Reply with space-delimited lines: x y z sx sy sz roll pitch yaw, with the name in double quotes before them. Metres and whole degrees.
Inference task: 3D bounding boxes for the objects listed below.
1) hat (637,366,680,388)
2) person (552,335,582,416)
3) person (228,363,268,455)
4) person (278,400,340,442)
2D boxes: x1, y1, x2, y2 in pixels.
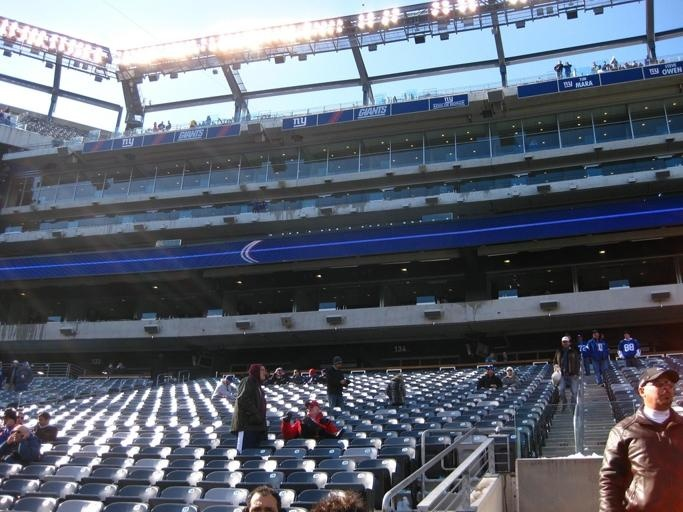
"hat" 2.543 0.964 4.866 0.189 0.130 0.272 14 -23 -11
"person" 4.954 2.495 13.312 0.591 1.285 1.905 -5 1 19
"person" -1.362 2.363 9.284 0.586 1.340 0.509 -6 1 -35
"person" -0.493 2.594 9.811 0.867 0.349 0.973 -22 -40 26
